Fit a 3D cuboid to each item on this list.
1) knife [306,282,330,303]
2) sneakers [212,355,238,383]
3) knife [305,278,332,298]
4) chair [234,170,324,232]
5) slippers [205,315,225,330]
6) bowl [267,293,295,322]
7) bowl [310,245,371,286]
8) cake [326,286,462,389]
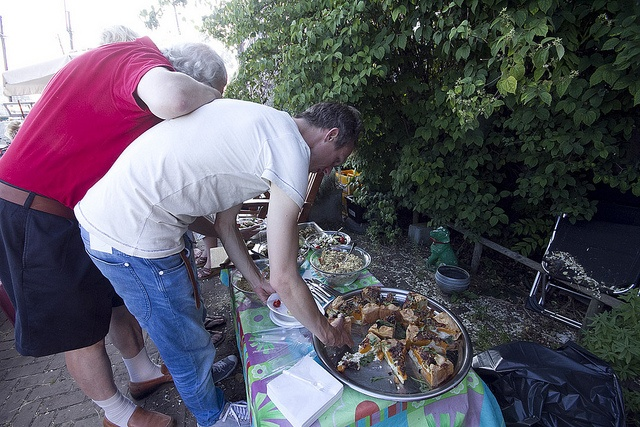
[{"bbox_3d":[-0.007,0.687,3.398,0.099,0.019,0.366,-21,19,-16],"label":"knife"},{"bbox_3d":[-0.944,1.512,3.837,0.346,0.142,0.119,-31,61,-19],"label":"sneakers"},{"bbox_3d":[-0.034,0.652,3.460,0.102,0.028,0.362,-40,33,-24],"label":"knife"},{"bbox_3d":[-0.581,-0.212,5.849,1.106,1.160,0.803,-1,12,-15],"label":"chair"},{"bbox_3d":[-1.213,1.233,4.467,0.244,0.096,0.171,-1,20,0],"label":"slippers"},{"bbox_3d":[-0.345,0.806,3.210,0.208,0.054,0.210,33,16,-10],"label":"bowl"},{"bbox_3d":[0.164,0.416,3.645,0.532,0.585,0.226,-2,51,22],"label":"bowl"},{"bbox_3d":[0.611,0.954,2.917,0.678,0.198,0.697,-9,31,-12],"label":"cake"}]
